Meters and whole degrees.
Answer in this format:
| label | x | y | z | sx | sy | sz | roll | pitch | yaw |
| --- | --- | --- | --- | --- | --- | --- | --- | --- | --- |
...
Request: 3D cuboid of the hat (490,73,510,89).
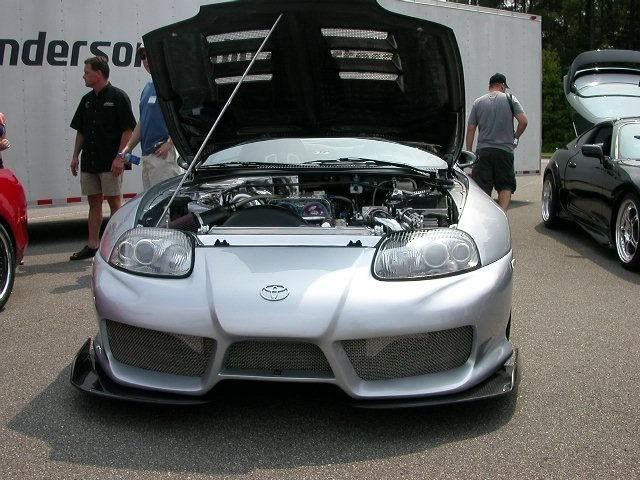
| label | x | y | z | sx | sy | sz | roll | pitch | yaw |
| --- | --- | --- | --- | --- | --- | --- | --- | --- | --- |
| hat | 2.862 | -2.558 | 8.088 | 0.281 | 0.302 | 0.456 | 5 | 27 | 22 |
